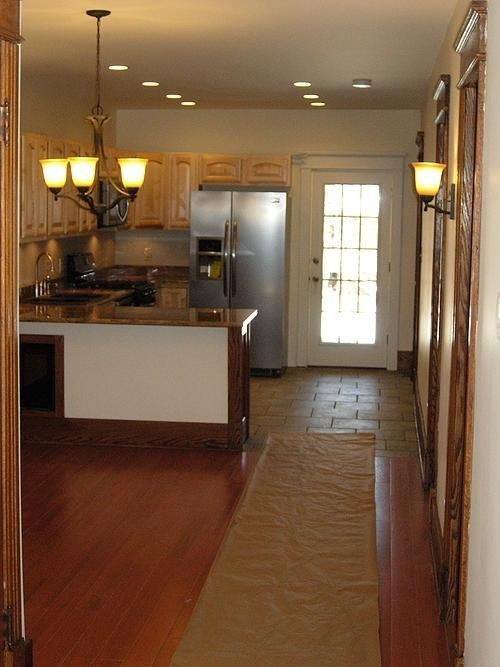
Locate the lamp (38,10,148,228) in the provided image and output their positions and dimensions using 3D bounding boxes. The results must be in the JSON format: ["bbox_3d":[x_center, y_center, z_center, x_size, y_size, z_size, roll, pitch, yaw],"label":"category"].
[{"bbox_3d":[-0.969,-1.360,3.398,0.664,1.204,0.620,-6,15,-33],"label":"lamp"}]

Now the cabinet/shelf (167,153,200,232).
[{"bbox_3d":[-0.849,-1.801,6.833,0.317,0.895,0.098,3,2,21],"label":"cabinet/shelf"}]

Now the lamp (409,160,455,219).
[{"bbox_3d":[0.776,-0.594,2.293,0.177,0.226,0.141,5,2,3],"label":"lamp"}]
